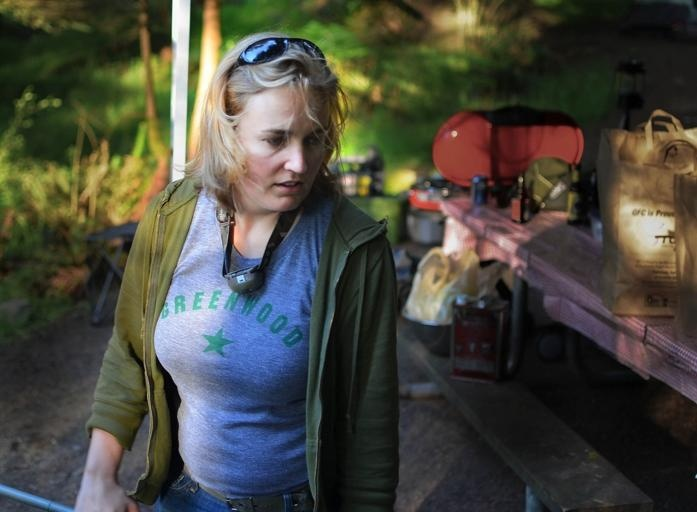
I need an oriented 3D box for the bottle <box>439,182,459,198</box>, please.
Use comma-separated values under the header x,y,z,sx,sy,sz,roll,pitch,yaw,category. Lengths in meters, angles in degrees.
x,y,z,sx,sy,sz,roll,pitch,yaw,category
0.777,-0.522,5.206,0.108,0.059,0.162,19,11,-8,bottle
